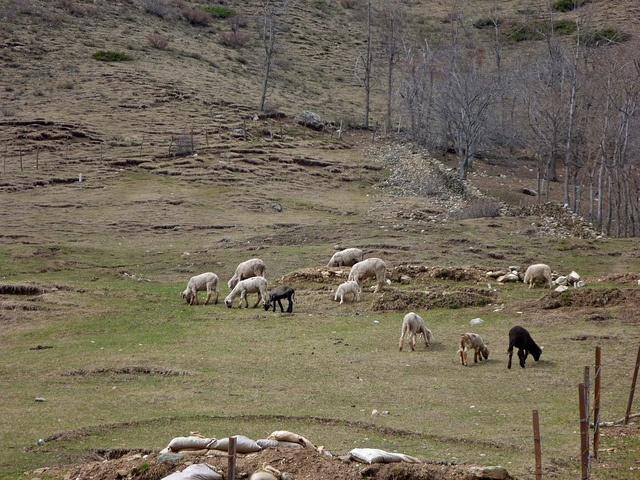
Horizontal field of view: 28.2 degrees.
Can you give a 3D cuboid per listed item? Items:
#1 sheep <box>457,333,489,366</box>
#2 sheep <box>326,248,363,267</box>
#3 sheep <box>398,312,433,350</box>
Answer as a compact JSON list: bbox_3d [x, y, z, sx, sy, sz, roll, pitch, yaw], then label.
[{"bbox_3d":[10.741,7.756,90.122,1.864,2.263,1.054,-1,5,-28],"label":"sheep"},{"bbox_3d":[1.987,1.425,100.492,3.519,0.941,1.581,-10,21,11],"label":"sheep"},{"bbox_3d":[6.743,6.633,91.658,2.320,2.671,1.202,1,5,-9],"label":"sheep"}]
